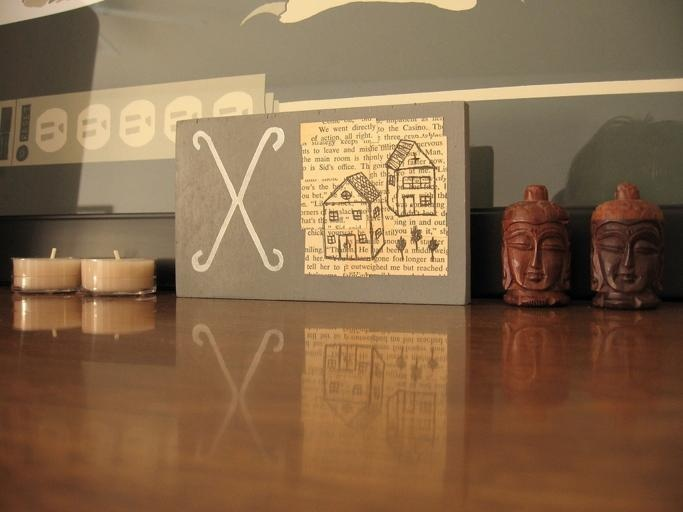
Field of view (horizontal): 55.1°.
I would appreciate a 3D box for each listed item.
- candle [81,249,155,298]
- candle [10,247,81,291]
[{"bbox_3d":[-0.383,0.036,1.117,0.079,0.058,0.087,0,0,-6],"label":"candle"},{"bbox_3d":[-0.526,0.024,1.194,0.093,0.076,0.098,-2,0,36],"label":"candle"}]
